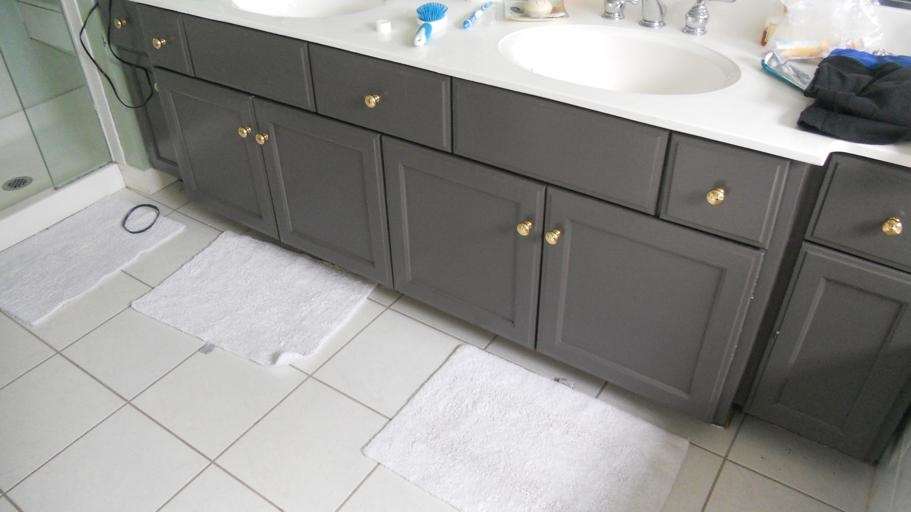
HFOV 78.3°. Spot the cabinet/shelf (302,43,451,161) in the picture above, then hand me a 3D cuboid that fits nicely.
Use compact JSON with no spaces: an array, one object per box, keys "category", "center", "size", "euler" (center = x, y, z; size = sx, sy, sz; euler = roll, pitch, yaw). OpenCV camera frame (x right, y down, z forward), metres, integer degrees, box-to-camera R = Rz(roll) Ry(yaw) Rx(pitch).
[{"category":"cabinet/shelf","center":[-0.295,-0.641,2.275],"size":[0.532,0.226,0.469],"euler":[18,40,20]}]

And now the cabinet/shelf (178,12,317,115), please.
[{"category":"cabinet/shelf","center":[-0.905,-0.850,2.464],"size":[0.677,0.320,0.099],"euler":[12,7,21]}]

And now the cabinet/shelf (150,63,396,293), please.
[{"category":"cabinet/shelf","center":[-0.715,-0.554,2.936],"size":[1.429,0.814,0.774],"euler":[24,43,25]}]
